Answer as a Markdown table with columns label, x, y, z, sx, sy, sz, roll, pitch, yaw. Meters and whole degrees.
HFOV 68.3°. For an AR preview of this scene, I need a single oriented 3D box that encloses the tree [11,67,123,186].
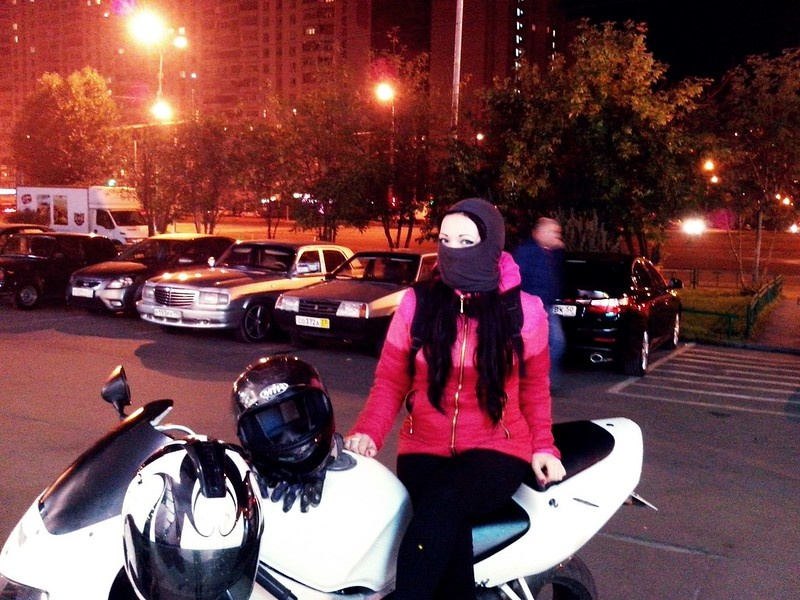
| label | x | y | z | sx | sy | sz | roll | pitch | yaw |
| --- | --- | --- | --- | --- | --- | --- | --- | --- | --- |
| tree | -28.421 | -14.744 | 50.538 | 10.897 | 9.971 | 5.045 | 5 | 8 | 29 |

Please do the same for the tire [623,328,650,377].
| label | x | y | z | sx | sy | sz | roll | pitch | yaw |
| --- | --- | --- | --- | --- | --- | --- | --- | --- | --- |
| tire | 3.955 | 0.899 | 9.972 | 0.259 | 0.851 | 0.774 | 0 | -1 | 26 |

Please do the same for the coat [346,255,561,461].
| label | x | y | z | sx | sy | sz | roll | pitch | yaw |
| --- | --- | --- | --- | --- | --- | --- | --- | --- | --- |
| coat | 0.238 | 0.388 | 2.788 | 1.028 | 1.191 | 0.759 | 4 | 7 | 12 |

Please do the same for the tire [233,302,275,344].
| label | x | y | z | sx | sy | sz | roll | pitch | yaw |
| --- | --- | --- | --- | --- | --- | --- | --- | --- | --- |
| tire | -2.903 | 0.477 | 12.224 | 0.758 | 0.897 | 0.289 | -1 | 0 | 17 |

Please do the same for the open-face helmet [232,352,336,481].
| label | x | y | z | sx | sy | sz | roll | pitch | yaw |
| --- | --- | --- | --- | --- | --- | --- | --- | --- | --- |
| open-face helmet | -0.401 | 0.385 | 1.984 | 0.264 | 0.334 | 0.385 | -1 | 0 | -14 |

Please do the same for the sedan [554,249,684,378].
| label | x | y | z | sx | sy | sz | roll | pitch | yaw |
| --- | --- | --- | --- | --- | --- | --- | --- | --- | --- |
| sedan | 4.076 | 0.168 | 10.869 | 1.636 | 1.429 | 3.592 | 3 | 6 | 33 |
